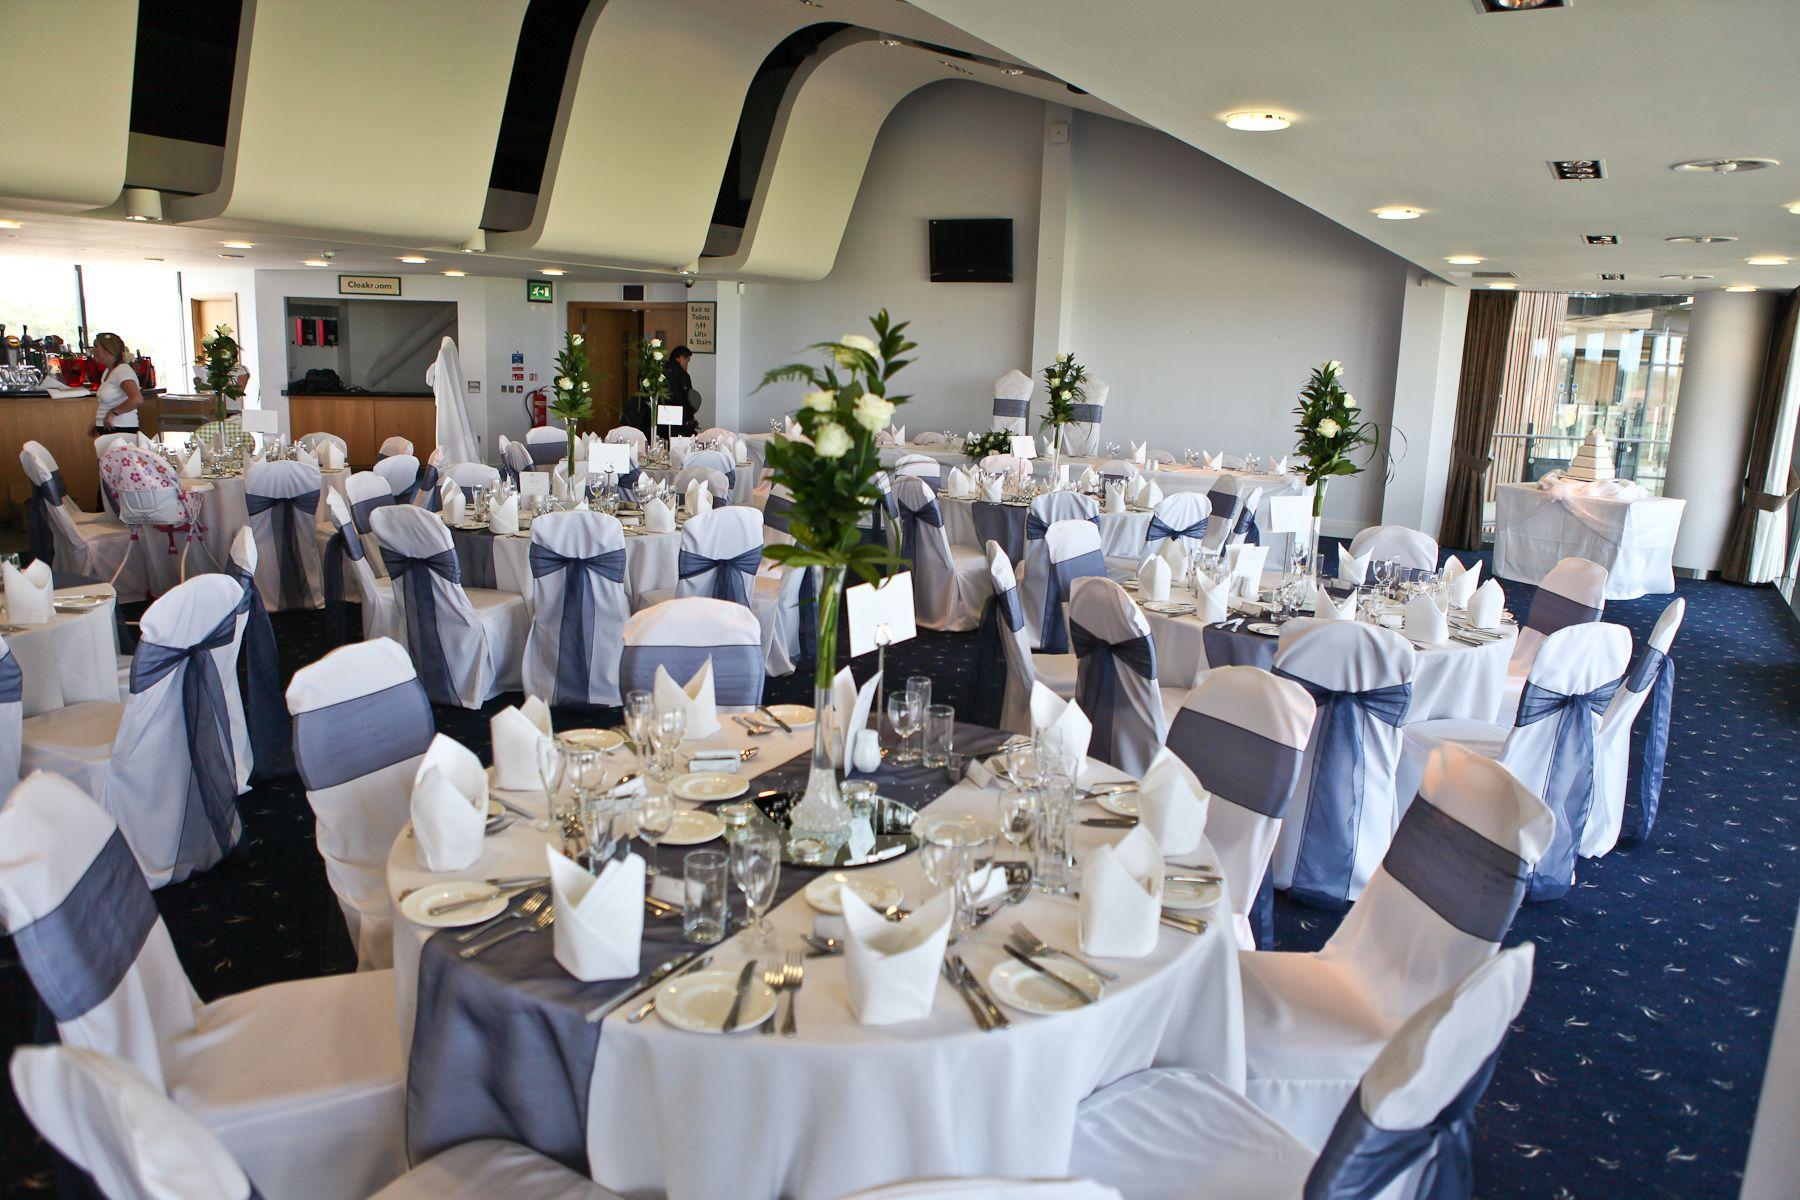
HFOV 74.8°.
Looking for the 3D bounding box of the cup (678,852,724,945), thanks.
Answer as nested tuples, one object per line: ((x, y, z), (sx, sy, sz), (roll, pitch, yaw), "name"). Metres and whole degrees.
((-0.552, 0.834, 3.364), (0.130, 0.247, 0.173), (0, 11, -10), "cup")

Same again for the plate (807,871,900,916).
((-0.140, 0.871, 3.487), (0.290, 0.069, 0.185), (4, 11, 8), "plate")

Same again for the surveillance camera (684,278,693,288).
((-2.809, -4.291, 15.801), (0.077, 0.111, 0.086), (0, 14, -4), "surveillance camera")

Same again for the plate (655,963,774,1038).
((-0.491, 1.070, 3.136), (0.324, 0.083, 0.192), (2, 11, -5), "plate")

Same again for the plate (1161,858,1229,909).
((0.876, 0.865, 3.567), (0.169, 0.059, 0.253), (6, 12, 16), "plate")

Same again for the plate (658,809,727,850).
((-0.642, 0.724, 3.756), (0.194, 0.060, 0.201), (3, 11, 2), "plate")

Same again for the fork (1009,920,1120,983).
((0.459, 0.994, 3.301), (0.049, 0.042, 0.270), (-38, 41, -25), "fork")

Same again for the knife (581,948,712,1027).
((-0.683, 1.047, 3.155), (0.056, 0.018, 0.376), (30, 37, 32), "knife")

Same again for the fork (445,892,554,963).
((-1.109, 0.933, 3.322), (0.077, 0.052, 0.336), (27, 34, 25), "fork")

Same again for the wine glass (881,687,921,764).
((0.006, 0.455, 4.190), (0.129, 0.239, 0.138), (-9, 31, -8), "wine glass")

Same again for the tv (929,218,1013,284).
((0.899, -4.391, 14.584), (0.740, 0.590, 0.085), (6, 13, 28), "tv")

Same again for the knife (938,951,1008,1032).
((0.195, 1.052, 3.175), (0.067, 0.022, 0.267), (-12, 19, -13), "knife")
